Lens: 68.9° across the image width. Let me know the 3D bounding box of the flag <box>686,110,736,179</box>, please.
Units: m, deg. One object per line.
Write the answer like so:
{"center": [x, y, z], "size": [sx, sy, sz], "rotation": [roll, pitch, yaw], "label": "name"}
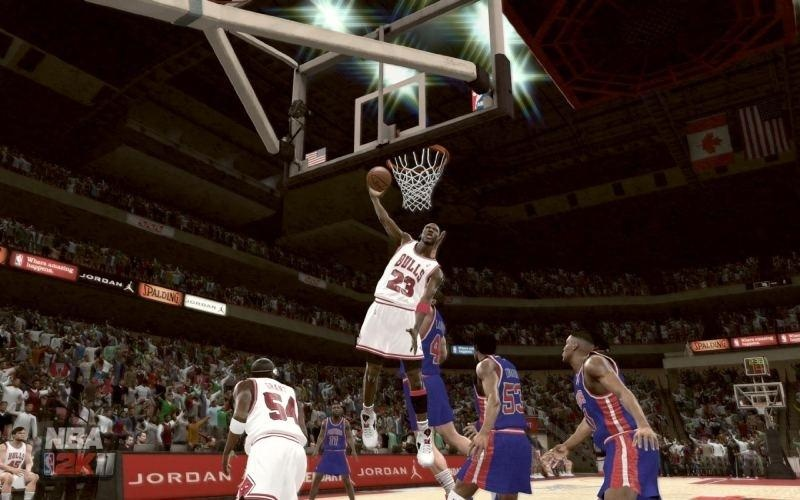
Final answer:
{"center": [15.953, -5.573, 30.029], "size": [2.081, 2.717, 0.124], "rotation": [-17, -8, 21], "label": "flag"}
